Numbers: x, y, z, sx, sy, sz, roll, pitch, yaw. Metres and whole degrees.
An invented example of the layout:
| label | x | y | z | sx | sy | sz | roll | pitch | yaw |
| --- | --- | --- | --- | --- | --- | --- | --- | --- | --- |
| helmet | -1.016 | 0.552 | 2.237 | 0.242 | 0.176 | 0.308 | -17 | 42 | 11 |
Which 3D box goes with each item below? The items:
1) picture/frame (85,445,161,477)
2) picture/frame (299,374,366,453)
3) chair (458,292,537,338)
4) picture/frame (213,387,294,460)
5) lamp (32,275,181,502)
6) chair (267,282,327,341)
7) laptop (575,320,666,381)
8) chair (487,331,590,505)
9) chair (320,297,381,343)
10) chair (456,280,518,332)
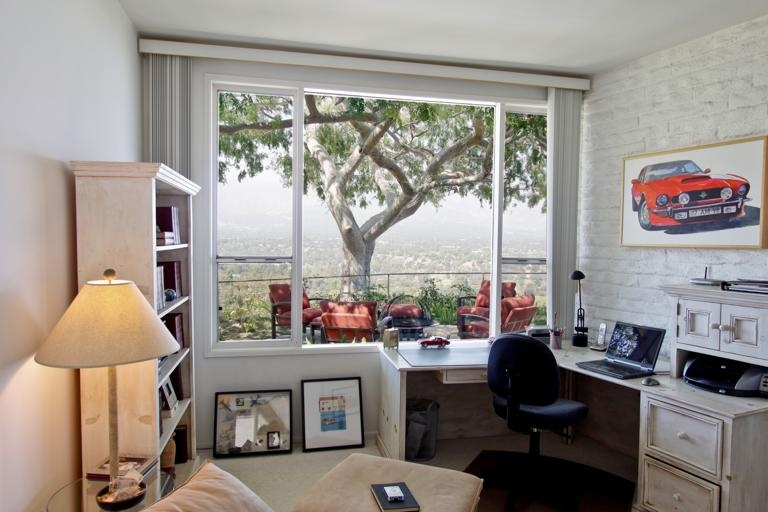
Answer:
| label | x | y | z | sx | sy | sz | roll | pitch | yaw |
| --- | --- | --- | --- | --- | --- | --- | --- | --- | --- |
| picture/frame | -1.567 | 1.223 | 3.146 | 0.327 | 0.068 | 0.298 | 1 | -3 | -13 |
| picture/frame | -0.475 | 1.403 | 4.636 | 0.701 | 0.685 | 0.055 | 1 | -11 | -20 |
| chair | 1.229 | 0.668 | 5.620 | 0.483 | 0.588 | 0.692 | -2 | 7 | -18 |
| picture/frame | -1.143 | 1.451 | 4.515 | 0.606 | 0.465 | 0.057 | 2 | -13 | -14 |
| lamp | -1.490 | 0.739 | 2.882 | 0.533 | 1.188 | 0.466 | 1 | 6 | 25 |
| chair | -0.838 | 0.474 | 4.912 | 0.519 | 0.522 | 0.395 | 1 | -1 | 9 |
| laptop | 1.923 | 0.720 | 4.167 | 0.498 | 0.302 | 0.479 | -1 | 0 | -27 |
| chair | 1.128 | 1.206 | 4.041 | 0.615 | 1.304 | 0.536 | -4 | 6 | -33 |
| chair | -0.367 | 0.685 | 5.556 | 0.500 | 0.442 | 0.465 | 1 | 5 | 4 |
| chair | 1.205 | 0.639 | 6.865 | 0.659 | 0.774 | 0.580 | 1 | -3 | -14 |
